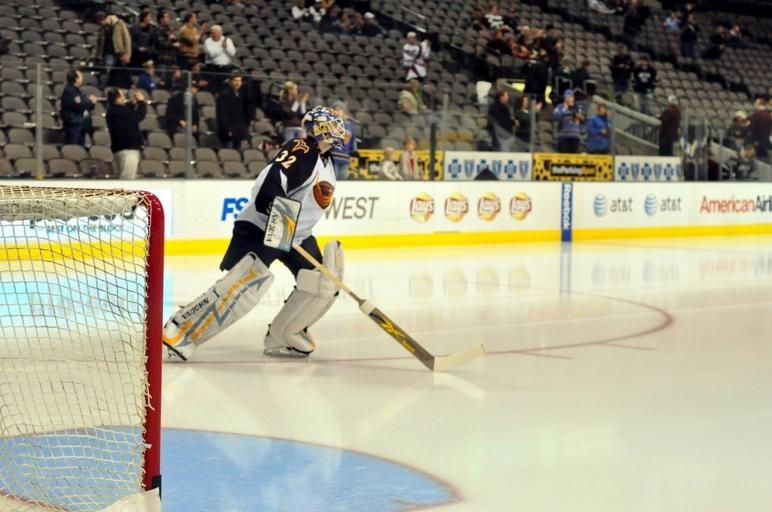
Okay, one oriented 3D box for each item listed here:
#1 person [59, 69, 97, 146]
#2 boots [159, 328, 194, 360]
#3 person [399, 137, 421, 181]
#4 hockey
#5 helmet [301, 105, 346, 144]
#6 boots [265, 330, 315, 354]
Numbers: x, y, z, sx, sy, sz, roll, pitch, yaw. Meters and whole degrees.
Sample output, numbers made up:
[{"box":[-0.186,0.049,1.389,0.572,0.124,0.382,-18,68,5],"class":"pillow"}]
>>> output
[{"box":[-4.114,-1.987,13.686,0.475,1.006,0.109,-11,18,-40],"class":"person"},{"box":[-1.792,0.760,8.824,0.265,0.325,0.302,-2,14,-12],"class":"boots"},{"box":[0.345,-1.531,15.851,0.229,0.759,0.297,4,36,12],"class":"person"},{"box":[0.045,0.538,10.383,2.160,0.320,0.292,33,-10,40],"class":"hockey"},{"box":[-0.565,-1.181,9.200,0.367,0.321,0.289,-3,31,5],"class":"helmet"},{"box":[-0.863,0.750,9.063,0.325,0.151,0.233,-4,-4,9],"class":"boots"}]
